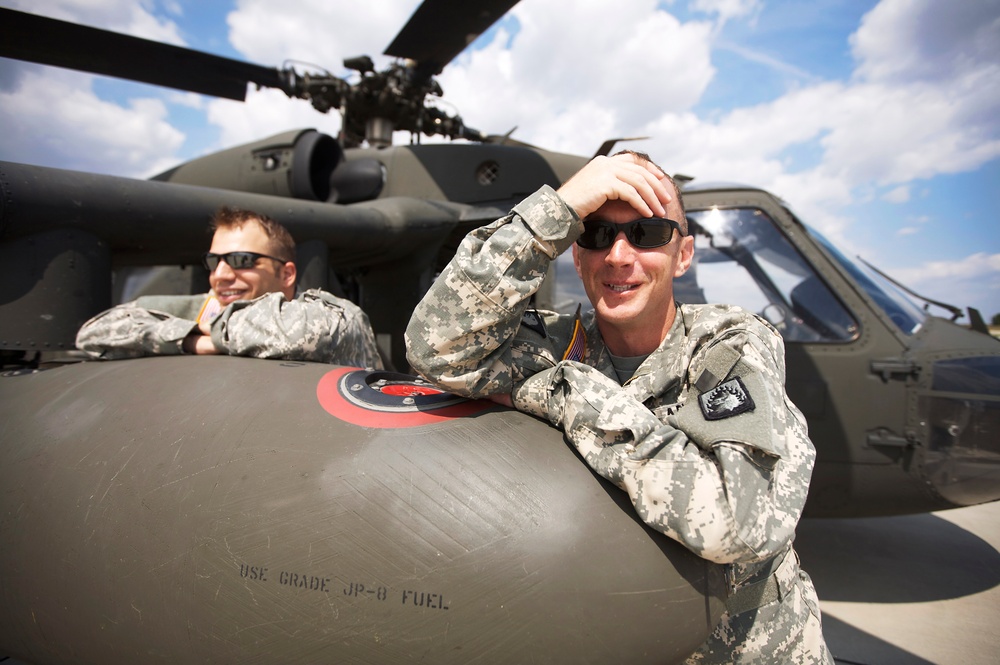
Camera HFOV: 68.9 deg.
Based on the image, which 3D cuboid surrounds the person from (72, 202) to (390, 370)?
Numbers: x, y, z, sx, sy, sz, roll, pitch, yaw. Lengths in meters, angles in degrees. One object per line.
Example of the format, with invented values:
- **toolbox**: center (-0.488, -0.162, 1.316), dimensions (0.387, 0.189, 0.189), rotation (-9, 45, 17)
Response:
- **person**: center (-1.262, -0.114, 3.555), dimensions (0.881, 0.526, 1.188), rotation (3, 4, 11)
